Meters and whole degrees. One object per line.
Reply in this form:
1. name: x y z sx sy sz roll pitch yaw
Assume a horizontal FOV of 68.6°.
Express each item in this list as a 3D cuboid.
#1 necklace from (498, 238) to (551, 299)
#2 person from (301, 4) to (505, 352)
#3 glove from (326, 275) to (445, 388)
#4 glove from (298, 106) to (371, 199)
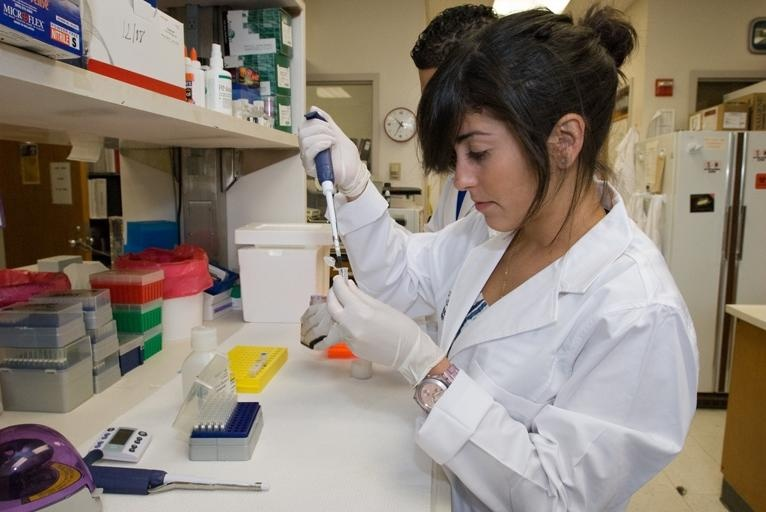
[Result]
1. necklace: 0.429 0.038 1.812 0.055 0.173 0.178 25 8 -30
2. person: 0.073 -0.337 2.301 0.434 1.551 0.757 11 -7 34
3. glove: -0.001 0.237 1.772 0.419 0.229 0.164 41 14 5
4. glove: -0.166 -0.348 1.931 0.094 0.335 0.186 -22 13 -21
